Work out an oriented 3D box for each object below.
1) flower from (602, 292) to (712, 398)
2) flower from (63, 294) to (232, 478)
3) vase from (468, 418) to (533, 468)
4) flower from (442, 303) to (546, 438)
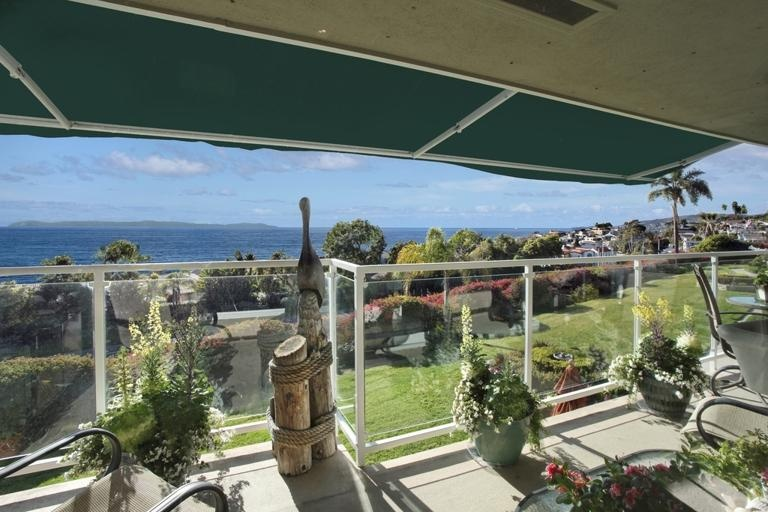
[{"bbox_3d":[2.570,0.823,4.348,0.597,0.787,0.774,-8,-11,7],"label":"flower"},{"bbox_3d":[-1.511,0.937,3.232,0.658,0.836,0.572,-14,16,-35],"label":"flower"},{"bbox_3d":[0.870,1.380,3.552,0.400,0.268,0.392,-3,-6,-2],"label":"vase"},{"bbox_3d":[1.071,0.860,3.950,0.829,1.283,0.942,-5,-2,19],"label":"flower"}]
